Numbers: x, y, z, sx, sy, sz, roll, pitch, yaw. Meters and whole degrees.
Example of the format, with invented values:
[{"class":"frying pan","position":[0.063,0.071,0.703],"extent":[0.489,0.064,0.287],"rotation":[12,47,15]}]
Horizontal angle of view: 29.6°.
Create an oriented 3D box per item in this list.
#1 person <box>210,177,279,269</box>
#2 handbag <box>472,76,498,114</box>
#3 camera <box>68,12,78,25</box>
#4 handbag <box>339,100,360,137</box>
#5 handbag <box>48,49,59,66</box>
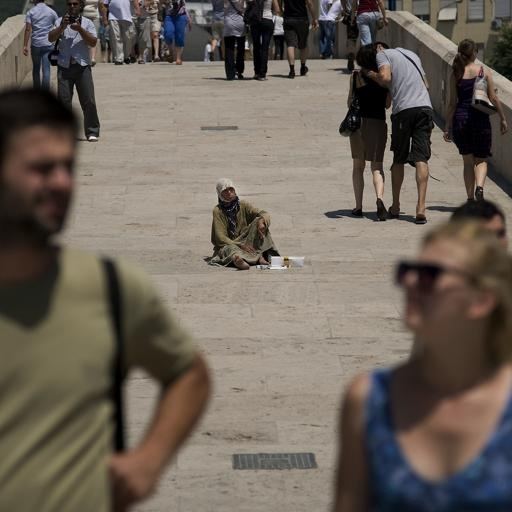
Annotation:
[{"class":"person","position":[-0.123,-0.326,9.221],"extent":[0.670,0.730,0.857],"rotation":[1,13,2]},{"class":"handbag","position":[2.436,-1.720,10.465],"extent":[0.109,0.381,0.275],"rotation":[-13,-27,27]},{"class":"camera","position":[-2.374,-3.090,12.653],"extent":[0.078,0.130,0.122],"rotation":[0,7,-1]},{"class":"handbag","position":[1.008,-1.524,10.524],"extent":[0.135,0.250,0.394],"rotation":[15,-34,-13]},{"class":"handbag","position":[-2.699,-2.638,12.994],"extent":[0.118,0.229,0.063],"rotation":[4,-11,-8]}]
